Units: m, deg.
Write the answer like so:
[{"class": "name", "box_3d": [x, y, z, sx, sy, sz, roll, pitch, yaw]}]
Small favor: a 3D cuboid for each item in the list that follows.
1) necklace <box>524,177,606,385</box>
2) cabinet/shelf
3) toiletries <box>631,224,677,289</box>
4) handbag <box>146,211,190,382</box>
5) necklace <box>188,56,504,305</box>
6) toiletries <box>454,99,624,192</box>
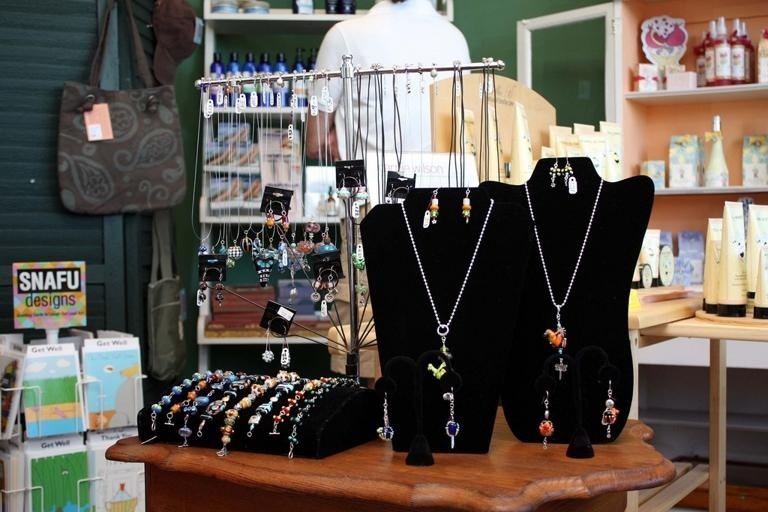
[{"class": "necklace", "box_3d": [0.545, 0.033, 2.455, 0.232, 0.504, 0.087, -2, 2, 14]}, {"class": "cabinet/shelf", "box_3d": [0.479, -0.355, 3.327, 1.673, 1.779, 0.939, 0, 0, 4]}, {"class": "toiletries", "box_3d": [1.058, 0.016, 3.226, 0.059, 0.236, 0.257, -2, 4, 36]}, {"class": "handbag", "box_3d": [-1.147, 0.211, 4.300, 0.090, 0.895, 0.301, -2, 2, 17]}, {"class": "necklace", "box_3d": [-0.155, -0.309, 3.148, 1.483, 1.132, 0.125, -1, 39, 0]}, {"class": "toiletries", "box_3d": [0.677, -0.410, 3.000, 0.589, 0.284, 0.247, -5, 4, -36]}]
